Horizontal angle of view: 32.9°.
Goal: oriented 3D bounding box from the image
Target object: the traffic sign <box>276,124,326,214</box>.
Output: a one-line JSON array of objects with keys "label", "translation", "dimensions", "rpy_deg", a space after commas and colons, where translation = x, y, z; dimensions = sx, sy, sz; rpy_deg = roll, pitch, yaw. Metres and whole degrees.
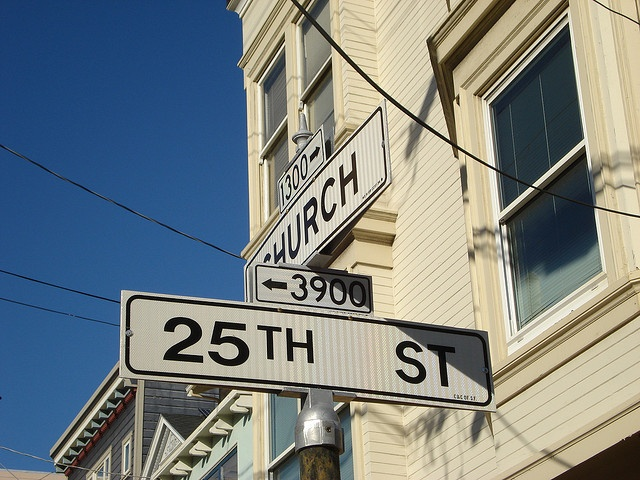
[{"label": "traffic sign", "translation": [-0.166, -0.657, 9.877], "dimensions": [0.016, 0.618, 1.254], "rpy_deg": [10, -35, -18]}]
